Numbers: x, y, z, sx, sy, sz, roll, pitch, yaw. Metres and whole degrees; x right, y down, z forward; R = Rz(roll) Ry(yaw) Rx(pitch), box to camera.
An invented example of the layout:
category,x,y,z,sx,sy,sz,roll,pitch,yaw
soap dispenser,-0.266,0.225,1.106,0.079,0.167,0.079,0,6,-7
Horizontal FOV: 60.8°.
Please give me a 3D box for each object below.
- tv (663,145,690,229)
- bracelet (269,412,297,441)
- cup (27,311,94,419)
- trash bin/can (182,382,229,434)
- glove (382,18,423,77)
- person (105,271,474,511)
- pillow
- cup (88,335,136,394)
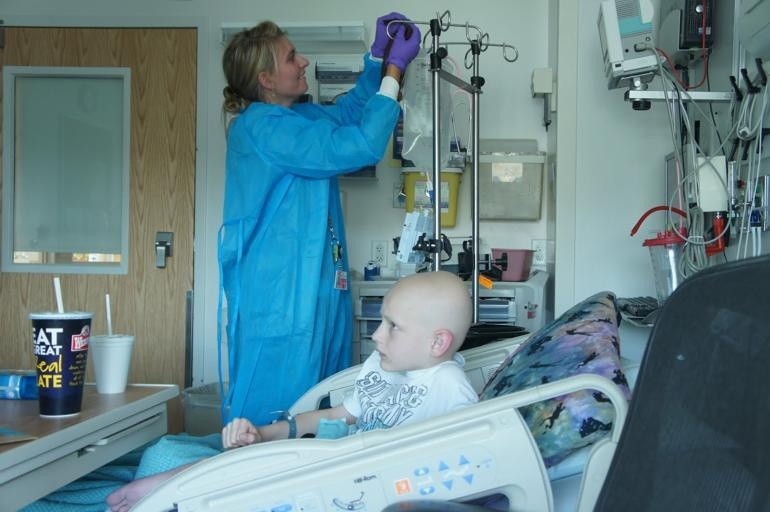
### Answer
category,x,y,z,sx,sy,sz,roll,pitch,yaw
tv,1.340,-0.310,3.018,0.098,0.369,0.674,0,2,24
bracelet,-0.302,0.479,1.942,0.069,0.103,0.084,5,-41,-20
cup,-0.922,0.300,1.866,0.153,0.297,0.193,-2,2,-28
trash bin/can,-0.919,0.773,3.417,0.249,0.239,0.318,0,-5,-10
glove,0.076,-0.784,2.553,0.131,0.230,0.082,11,-5,23
person,-0.211,0.350,2.007,0.942,0.557,0.548,-4,1,-5
pillow,0.439,0.320,1.757,0.383,0.377,0.493,0,2,16
cup,-0.847,0.320,2.100,0.168,0.198,0.169,0,4,0
